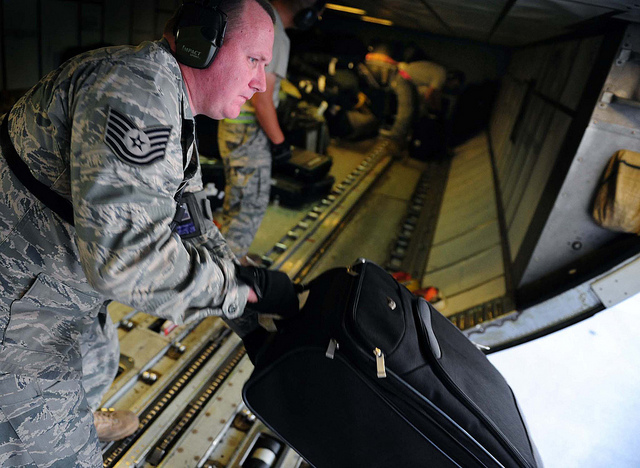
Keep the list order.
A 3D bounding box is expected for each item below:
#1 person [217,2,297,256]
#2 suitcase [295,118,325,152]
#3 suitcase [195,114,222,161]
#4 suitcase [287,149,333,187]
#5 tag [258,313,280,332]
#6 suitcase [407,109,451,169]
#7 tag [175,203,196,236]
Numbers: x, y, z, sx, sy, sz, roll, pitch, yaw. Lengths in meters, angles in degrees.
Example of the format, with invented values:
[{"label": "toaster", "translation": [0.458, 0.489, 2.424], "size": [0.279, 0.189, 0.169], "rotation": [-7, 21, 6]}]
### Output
[{"label": "person", "translation": [-0.309, -0.544, 2.531], "size": [0.396, 1.482, 0.437], "rotation": [0, 44, -16]}, {"label": "suitcase", "translation": [-0.034, -0.593, 2.957], "size": [0.134, 0.222, 0.140], "rotation": [-13, 20, -33]}, {"label": "suitcase", "translation": [-0.729, -0.615, 3.130], "size": [0.165, 0.326, 0.187], "rotation": [-2, -2, -36]}, {"label": "suitcase", "translation": [-0.053, -0.393, 2.928], "size": [0.214, 0.140, 0.218], "rotation": [28, 47, 28]}, {"label": "tag", "translation": [-0.201, 0.331, 1.893], "size": [0.089, 0.083, 0.024], "rotation": [23, 36, 28]}, {"label": "suitcase", "translation": [0.561, -0.507, 2.564], "size": [0.202, 0.288, 0.063], "rotation": [10, 20, 13]}, {"label": "tag", "translation": [-0.535, -0.056, 1.943], "size": [0.078, 0.118, 0.029], "rotation": [0, 15, -12]}]
